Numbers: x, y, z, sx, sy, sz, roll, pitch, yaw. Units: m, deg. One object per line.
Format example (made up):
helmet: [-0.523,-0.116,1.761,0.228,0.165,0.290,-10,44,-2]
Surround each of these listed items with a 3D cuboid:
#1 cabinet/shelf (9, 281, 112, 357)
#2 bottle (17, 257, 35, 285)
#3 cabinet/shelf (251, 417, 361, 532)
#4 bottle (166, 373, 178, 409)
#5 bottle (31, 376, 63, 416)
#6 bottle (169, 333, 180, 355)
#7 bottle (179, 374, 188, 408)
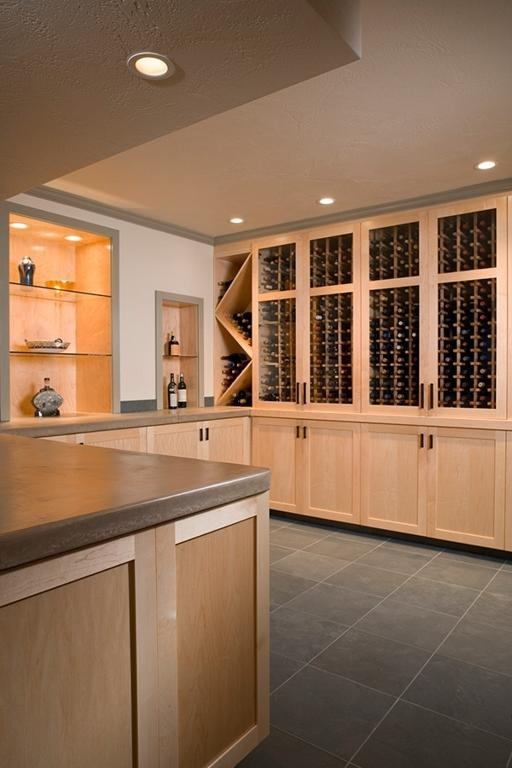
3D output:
cabinet/shelf: [-1.279,-0.401,3.675,0.631,0.410,0.296,0,0,-27]
bottle: [-1.407,-0.678,3.393,0.079,0.176,0.163,0,0,-29]
cabinet/shelf: [0.387,0.612,3.764,0.736,0.738,0.292,-1,-3,34]
bottle: [-0.670,0.055,4.446,0.084,0.279,0.374,0,0,-8]
bottle: [-1.332,0.078,3.513,0.100,0.311,0.221,-3,-4,43]
bottle: [-0.685,-0.320,4.610,0.091,0.190,0.282,0,0,-8]
bottle: [-0.611,0.057,4.573,0.081,0.263,0.187,0,0,-9]
